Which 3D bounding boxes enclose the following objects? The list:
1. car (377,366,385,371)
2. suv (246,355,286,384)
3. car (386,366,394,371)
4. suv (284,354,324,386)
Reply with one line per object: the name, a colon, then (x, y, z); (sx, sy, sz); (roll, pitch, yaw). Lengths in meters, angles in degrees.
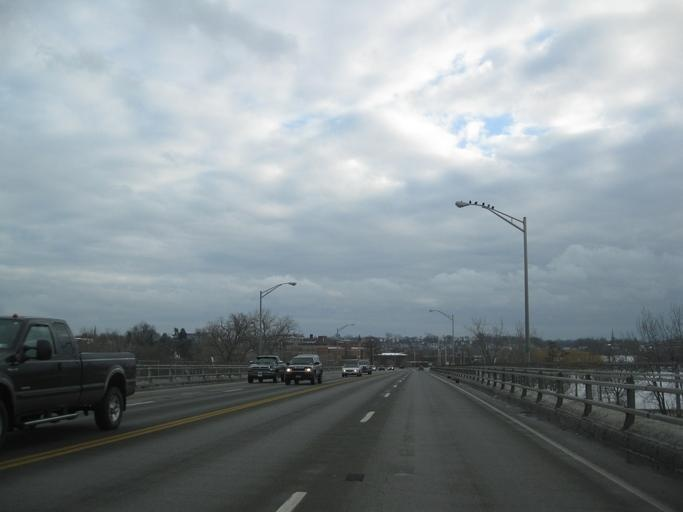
car: (9.395, 26.178, 131.807); (1.289, 0.936, 2.192); (0, -20, -2)
suv: (-5.284, 8.189, 41.179); (1.702, 1.383, 3.236); (-2, -14, 5)
car: (11.052, 25.803, 130.582); (2.129, 1.167, 3.680); (1, -5, 4)
suv: (-2.438, 7.623, 38.128); (2.033, 2.144, 4.464); (1, -14, 3)
